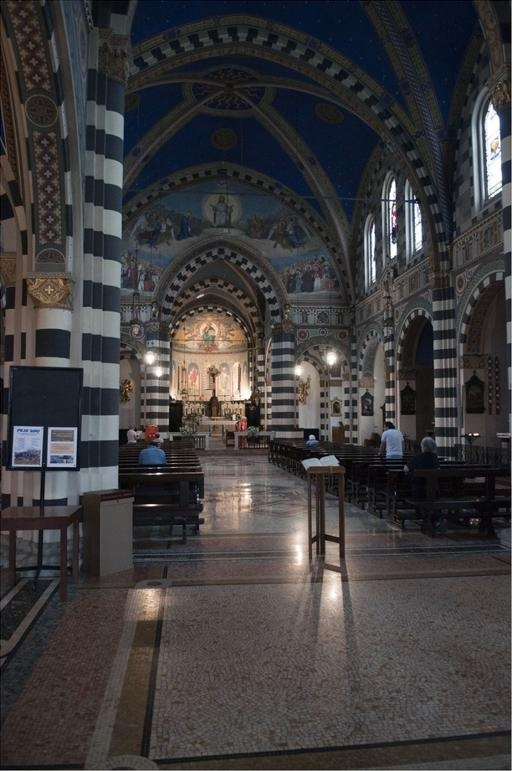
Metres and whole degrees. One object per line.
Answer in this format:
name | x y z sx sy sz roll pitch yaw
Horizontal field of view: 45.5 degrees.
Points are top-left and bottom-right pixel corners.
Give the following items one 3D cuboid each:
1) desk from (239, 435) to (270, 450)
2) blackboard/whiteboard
desk | -0.154 2.636 27.836 1.295 0.609 1.424 0 -3 1
blackboard/whiteboard | -2.027 0.312 5.767 0.865 1.424 0.106 0 1 -11
